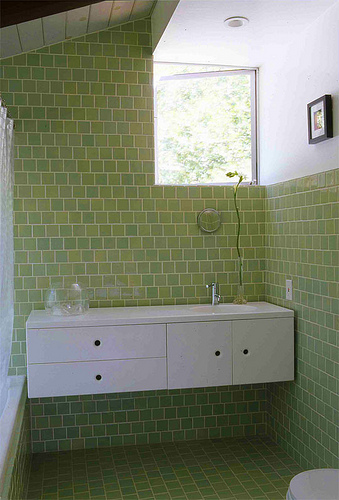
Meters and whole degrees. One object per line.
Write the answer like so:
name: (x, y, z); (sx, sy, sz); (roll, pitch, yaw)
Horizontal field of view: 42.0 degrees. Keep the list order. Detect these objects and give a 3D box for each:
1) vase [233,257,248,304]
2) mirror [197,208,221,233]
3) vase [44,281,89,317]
vase: (0.487, 0.209, 3.016); (0.095, 0.313, 0.147); (0, 1, 19)
mirror: (0.262, -0.202, 3.019); (0.152, 0.162, 0.022); (7, -3, -12)
vase: (-0.629, 0.296, 2.696); (0.208, 0.152, 0.209); (0, -3, 18)
